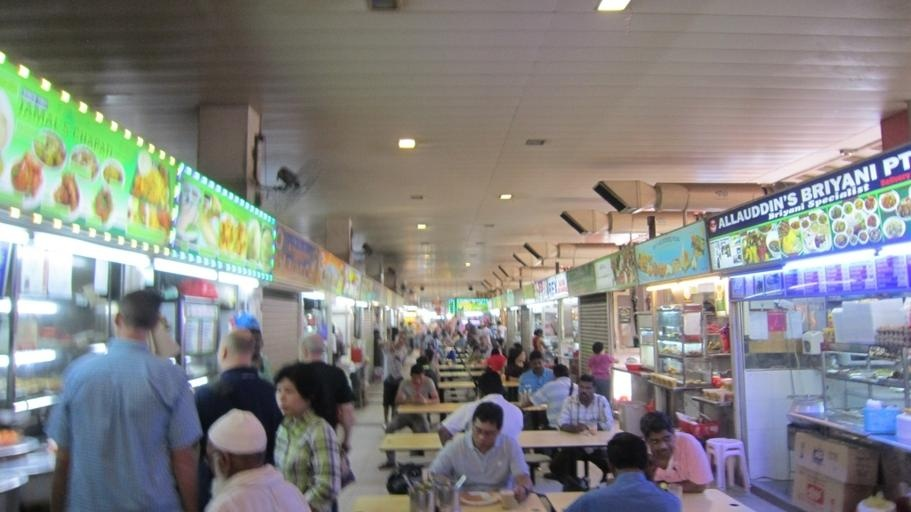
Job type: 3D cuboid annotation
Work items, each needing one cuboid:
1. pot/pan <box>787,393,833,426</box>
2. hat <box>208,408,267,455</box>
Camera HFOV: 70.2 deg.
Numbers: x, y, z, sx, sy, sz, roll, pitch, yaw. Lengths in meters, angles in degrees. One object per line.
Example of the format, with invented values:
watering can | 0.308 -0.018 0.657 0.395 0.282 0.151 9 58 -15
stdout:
pot/pan | 4.954 2.146 9.082 0.438 0.285 0.420 1 -7 -15
hat | -1.874 1.474 5.531 0.383 0.195 0.395 5 -1 29
